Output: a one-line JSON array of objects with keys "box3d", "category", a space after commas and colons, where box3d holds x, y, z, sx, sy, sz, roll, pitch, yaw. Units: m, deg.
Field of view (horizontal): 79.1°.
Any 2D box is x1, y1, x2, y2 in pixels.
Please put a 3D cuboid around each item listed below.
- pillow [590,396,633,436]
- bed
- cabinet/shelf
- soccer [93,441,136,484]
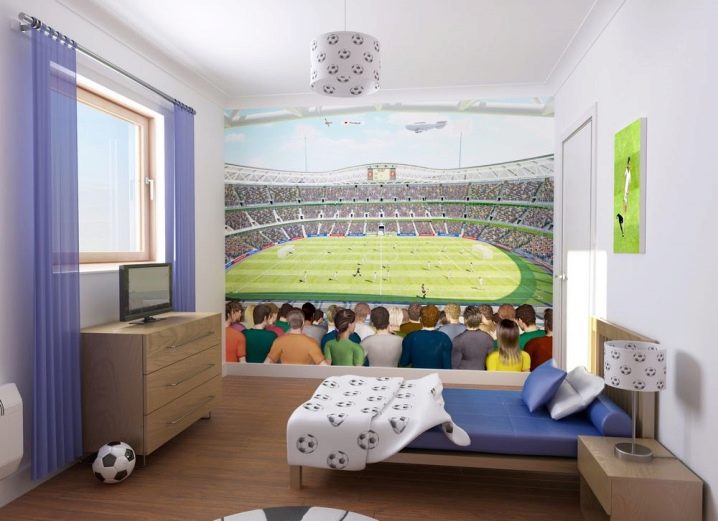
[{"box3d": [1.719, 1.016, 2.935, 0.174, 0.108, 0.306, -4, 5, 1], "category": "pillow"}, {"box3d": [1.116, 0.765, 3.306, 1.636, 0.698, 1.488, -1, -1, 10], "category": "bed"}, {"box3d": [-1.655, 0.862, 3.916, 0.911, 1.239, 1.736, 0, 2, 6], "category": "cabinet/shelf"}, {"box3d": [-1.803, 1.484, 3.194, 0.273, 0.274, 0.216, -6, 12, -31], "category": "soccer"}]
